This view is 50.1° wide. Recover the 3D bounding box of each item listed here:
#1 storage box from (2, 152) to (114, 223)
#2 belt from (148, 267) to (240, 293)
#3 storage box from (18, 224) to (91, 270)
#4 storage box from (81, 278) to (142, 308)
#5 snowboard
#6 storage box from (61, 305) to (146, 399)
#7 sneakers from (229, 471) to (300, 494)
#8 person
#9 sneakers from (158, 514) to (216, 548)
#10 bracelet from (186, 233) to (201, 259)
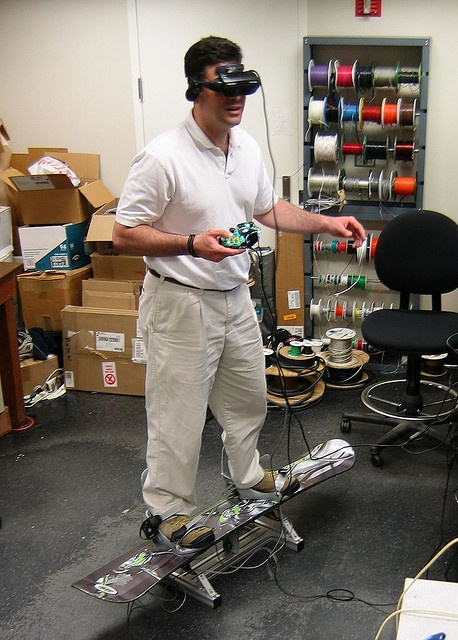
[{"bbox_3d":[-1.184,-0.883,3.442,0.697,0.416,0.596,2,23,3],"label":"storage box"},{"bbox_3d":[-0.122,-0.098,1.282,0.115,0.027,0.108,28,12,37],"label":"belt"},{"bbox_3d":[-1.208,-0.479,3.484,0.385,0.287,0.377,0,9,5],"label":"storage box"},{"bbox_3d":[-0.763,-0.175,3.172,0.343,0.184,0.315,3,4,5],"label":"storage box"},{"bbox_3d":[-0.033,0.676,1.615,0.199,0.162,0.986,19,30,36],"label":"snowboard"},{"bbox_3d":[-0.746,0.188,2.967,0.539,0.459,0.190,3,14,13],"label":"storage box"},{"bbox_3d":[0.136,0.545,1.620,0.145,0.043,0.085,-6,12,-6],"label":"sneakers"},{"bbox_3d":[-0.073,-0.040,1.415,0.423,1.327,0.588,1,12,20],"label":"person"},{"bbox_3d":[-0.122,0.564,1.363,0.122,0.055,0.075,9,19,32],"label":"sneakers"},{"bbox_3d":[-0.085,-0.167,1.105,0.017,0.042,0.040,7,-26,-19],"label":"bracelet"}]
